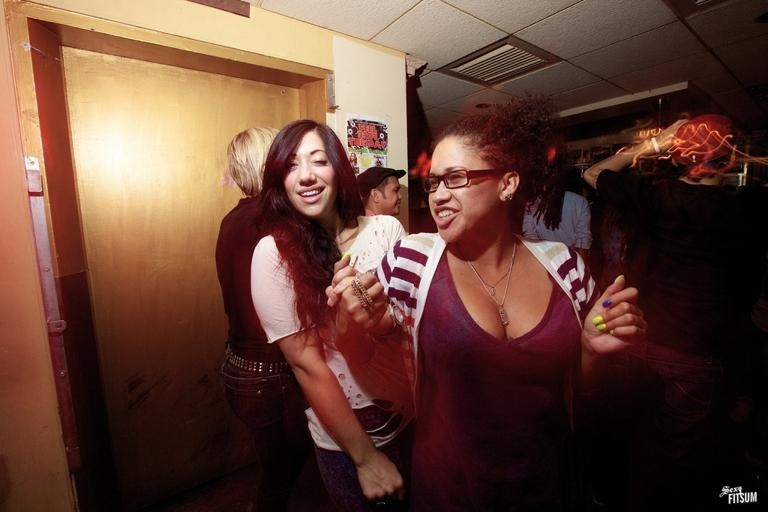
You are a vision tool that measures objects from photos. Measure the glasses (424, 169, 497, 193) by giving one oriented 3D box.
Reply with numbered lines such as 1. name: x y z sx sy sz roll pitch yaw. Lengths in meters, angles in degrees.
1. glasses: 0.335 -0.345 2.124 0.160 0.042 0.158 -3 -6 -31

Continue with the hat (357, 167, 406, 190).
1. hat: -0.025 -0.557 3.306 0.248 0.091 0.172 -20 12 -6
